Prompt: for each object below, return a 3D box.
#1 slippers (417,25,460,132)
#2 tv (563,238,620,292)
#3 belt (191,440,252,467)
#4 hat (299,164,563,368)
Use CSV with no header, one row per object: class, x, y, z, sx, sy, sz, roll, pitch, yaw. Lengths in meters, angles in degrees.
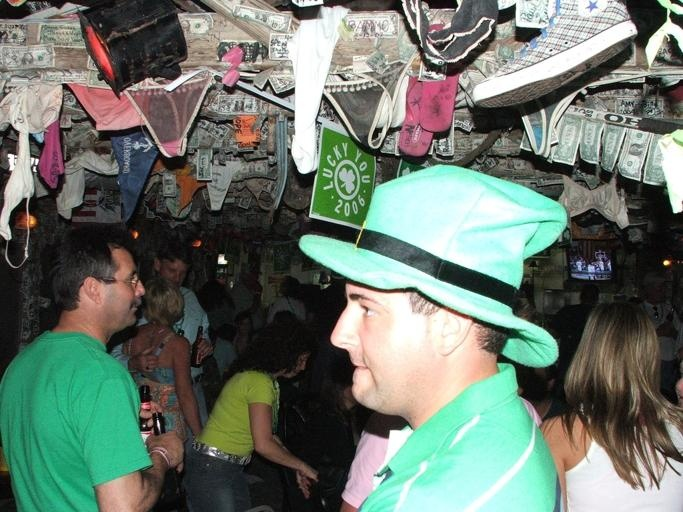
slippers,0.730,-1.180,4.436,0.295,0.493,0.244,4,2,10
tv,5.916,0.177,13.762,1.179,1.158,0.634,0,-7,8
belt,-0.965,1.537,4.549,0.263,0.083,0.261,10,-18,27
hat,0.437,0.095,2.359,0.802,0.445,0.803,20,2,-9
